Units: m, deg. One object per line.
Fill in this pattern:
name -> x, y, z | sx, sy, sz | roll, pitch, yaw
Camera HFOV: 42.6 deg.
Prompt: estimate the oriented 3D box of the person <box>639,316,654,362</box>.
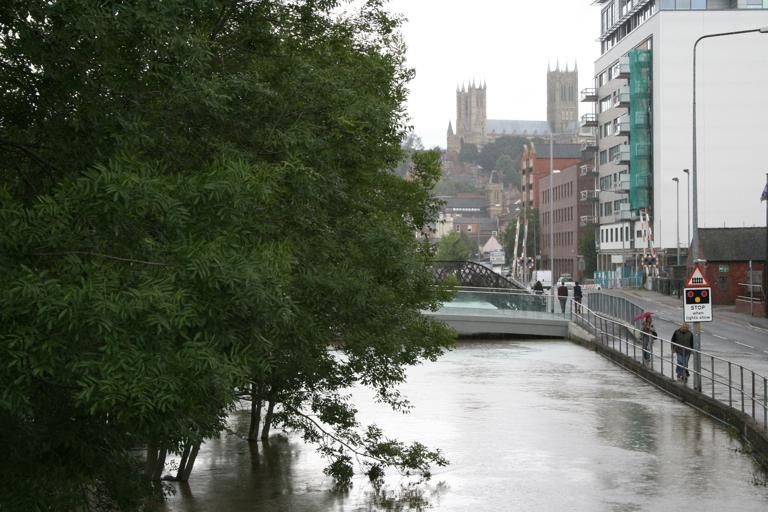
person -> 8.241, 2.557, 30.896 | 0.401, 1.582, 2.872 | 0, 2, 14
